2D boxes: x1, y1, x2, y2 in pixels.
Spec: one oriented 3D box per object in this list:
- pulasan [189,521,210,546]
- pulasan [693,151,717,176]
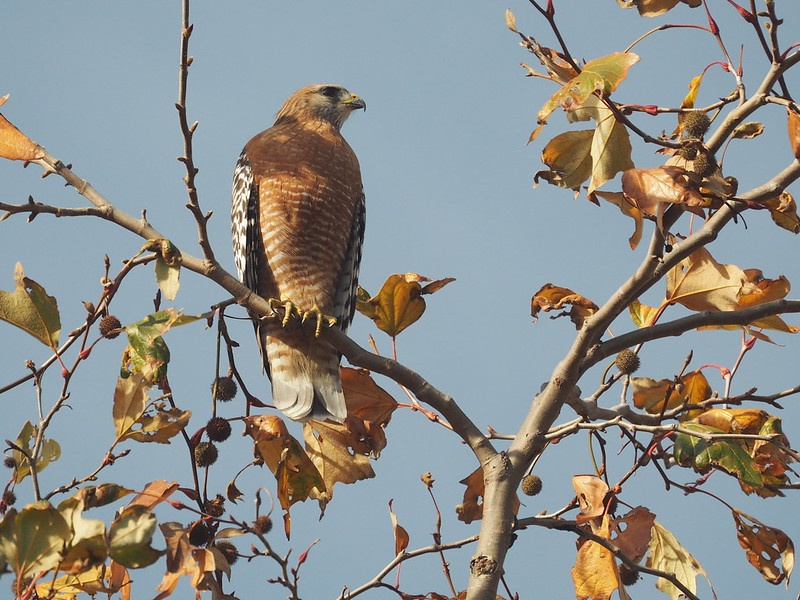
[{"bbox_3d":[-0.773,0.898,6.393,0.077,0.105,0.087,1,-21,-10],"label":"pulasan"},{"bbox_3d":[1.155,-0.513,6.253,0.071,0.098,0.042,-3,-29,-2],"label":"pulasan"}]
